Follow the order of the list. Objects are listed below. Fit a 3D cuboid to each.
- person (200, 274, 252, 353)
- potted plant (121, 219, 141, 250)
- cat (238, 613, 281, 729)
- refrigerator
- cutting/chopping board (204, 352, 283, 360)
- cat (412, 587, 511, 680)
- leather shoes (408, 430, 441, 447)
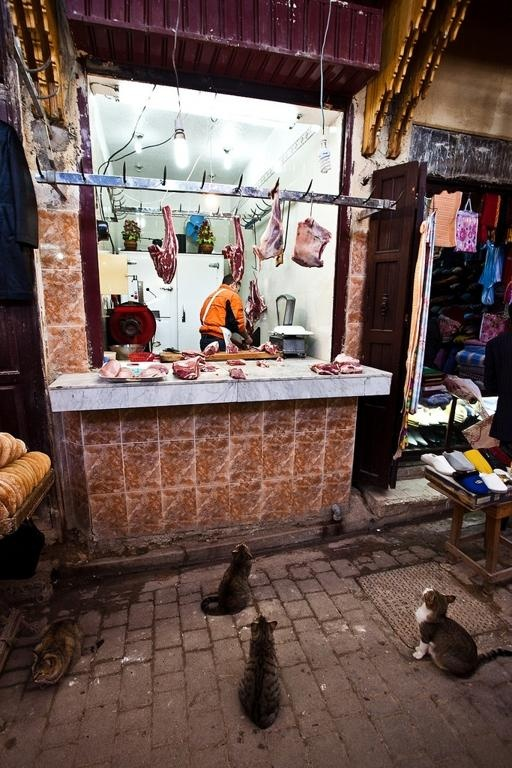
[{"bbox_3d":[-0.311,-0.703,4.871,0.498,0.795,1.255,0,15,-1],"label":"person"},{"bbox_3d":[-1.656,-1.984,6.454,0.191,0.402,0.440,-3,15,-14],"label":"potted plant"},{"bbox_3d":[0.048,1.400,2.392,0.195,0.507,0.267,-1,-2,4],"label":"cat"},{"bbox_3d":[-0.993,-1.006,5.729,1.510,1.400,0.811,-1,12,-11],"label":"refrigerator"},{"bbox_3d":[-0.131,-0.246,4.375,0.406,0.041,0.212,-3,9,-17],"label":"cutting/chopping board"},{"bbox_3d":[1.171,1.451,2.765,0.190,0.365,0.506,-27,43,-36],"label":"cat"},{"bbox_3d":[1.680,0.564,5.153,0.157,0.124,0.531,-1,3,-39],"label":"leather shoes"}]
